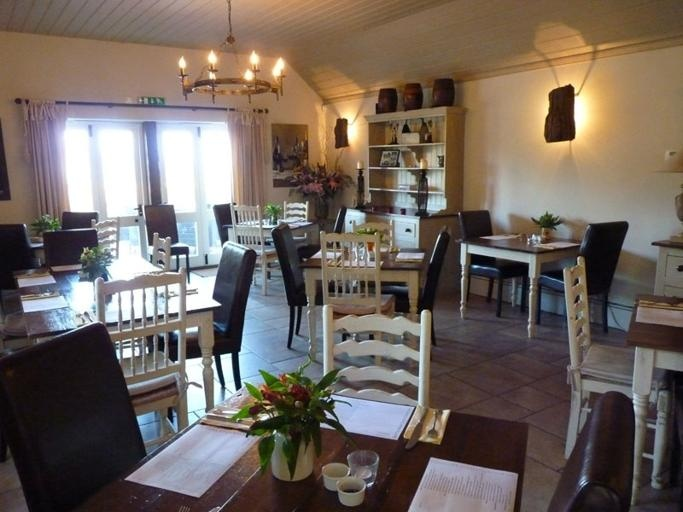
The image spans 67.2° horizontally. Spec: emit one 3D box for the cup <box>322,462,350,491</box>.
[{"bbox_3d":[-0.020,0.795,1.849,0.070,0.045,0.091,-1,1,0],"label":"cup"}]

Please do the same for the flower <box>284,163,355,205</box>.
[{"bbox_3d":[-0.363,-1.211,8.310,0.759,0.522,0.750,-1,5,-18],"label":"flower"}]

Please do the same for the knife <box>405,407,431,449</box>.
[{"bbox_3d":[0.320,0.707,2.094,0.039,0.015,0.264,6,10,21],"label":"knife"}]

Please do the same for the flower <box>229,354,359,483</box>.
[{"bbox_3d":[-0.191,0.615,1.881,0.394,0.370,0.271,-4,14,-14],"label":"flower"}]

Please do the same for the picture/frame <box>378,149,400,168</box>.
[{"bbox_3d":[0.712,-1.416,7.487,0.120,0.283,0.332,10,-1,-40],"label":"picture/frame"}]

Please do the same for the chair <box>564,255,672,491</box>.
[{"bbox_3d":[1.635,0.677,3.090,0.593,0.987,0.583,5,10,28],"label":"chair"}]

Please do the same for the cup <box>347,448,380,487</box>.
[{"bbox_3d":[0.081,0.783,1.877,0.123,0.105,0.137,0,-4,18],"label":"cup"}]

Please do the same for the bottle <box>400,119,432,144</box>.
[{"bbox_3d":[1.033,-1.630,7.007,0.389,0.244,0.386,-1,9,0],"label":"bottle"}]

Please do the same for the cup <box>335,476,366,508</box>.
[{"bbox_3d":[0.035,0.814,1.768,0.087,0.054,0.088,0,8,0],"label":"cup"}]

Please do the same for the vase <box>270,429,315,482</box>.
[{"bbox_3d":[-0.162,0.734,1.923,0.166,0.182,0.167,0,-2,0],"label":"vase"}]

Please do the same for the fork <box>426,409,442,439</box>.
[{"bbox_3d":[0.381,0.681,2.079,0.055,0.180,0.040,8,34,7],"label":"fork"}]
